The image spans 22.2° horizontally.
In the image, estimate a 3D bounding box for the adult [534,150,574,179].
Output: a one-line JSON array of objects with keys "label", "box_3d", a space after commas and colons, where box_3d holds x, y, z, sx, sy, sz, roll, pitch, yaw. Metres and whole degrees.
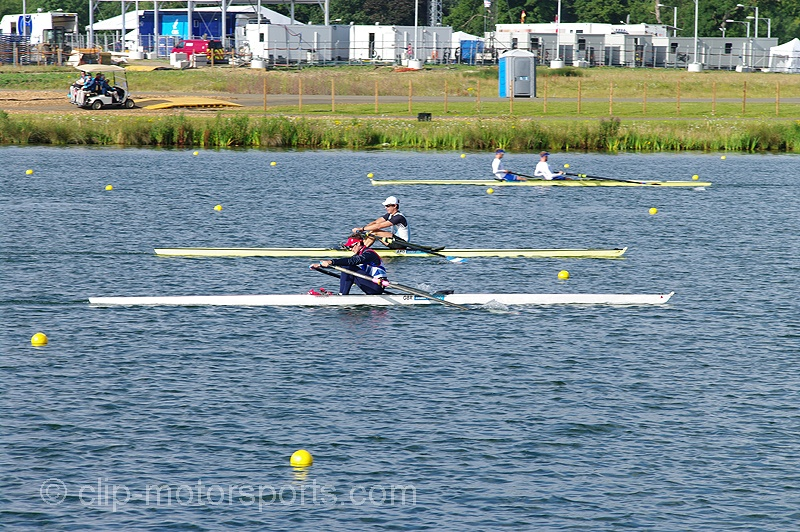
[{"label": "adult", "box_3d": [8.006, -5.394, 109.730, 1.568, 1.528, 2.383, 0, 8, -1]}]

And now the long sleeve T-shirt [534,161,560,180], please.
[{"label": "long sleeve T-shirt", "box_3d": [7.734, -5.137, 109.542, 1.195, 0.684, 0.867, 25, -8, -23]}]

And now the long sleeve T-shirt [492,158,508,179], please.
[{"label": "long sleeve T-shirt", "box_3d": [5.369, -5.262, 110.941, 0.855, 1.163, 1.361, -8, 13, -5]}]

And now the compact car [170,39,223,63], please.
[{"label": "compact car", "box_3d": [-15.806, -16.842, 160.012, 3.733, 1.444, 2.282, 3, 5, 19]}]

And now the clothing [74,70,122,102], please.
[{"label": "clothing", "box_3d": [-19.438, -11.204, 129.022, 3.318, 1.563, 1.764, -5, 12, -21]}]

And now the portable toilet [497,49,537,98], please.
[{"label": "portable toilet", "box_3d": [8.105, -13.134, 140.918, 2.386, 3.268, 2.296, 0, 9, 1]}]

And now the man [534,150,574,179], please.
[{"label": "man", "box_3d": [8.054, -5.394, 109.730, 1.678, 1.528, 2.355, 0, 8, 1]}]
